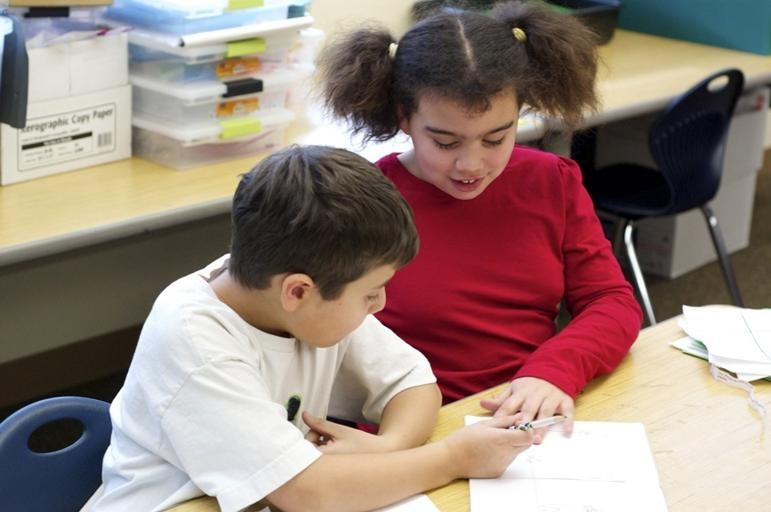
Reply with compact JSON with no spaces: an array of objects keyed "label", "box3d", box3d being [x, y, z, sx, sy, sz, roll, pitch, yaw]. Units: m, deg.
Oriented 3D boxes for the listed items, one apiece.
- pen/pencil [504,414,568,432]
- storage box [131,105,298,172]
[{"label":"pen/pencil","box3d":[0.280,0.311,1.147,0.073,0.019,0.015,-12,-4,-12]},{"label":"storage box","box3d":[-0.581,-0.392,2.148,0.350,0.110,0.291,-20,35,-34]}]
